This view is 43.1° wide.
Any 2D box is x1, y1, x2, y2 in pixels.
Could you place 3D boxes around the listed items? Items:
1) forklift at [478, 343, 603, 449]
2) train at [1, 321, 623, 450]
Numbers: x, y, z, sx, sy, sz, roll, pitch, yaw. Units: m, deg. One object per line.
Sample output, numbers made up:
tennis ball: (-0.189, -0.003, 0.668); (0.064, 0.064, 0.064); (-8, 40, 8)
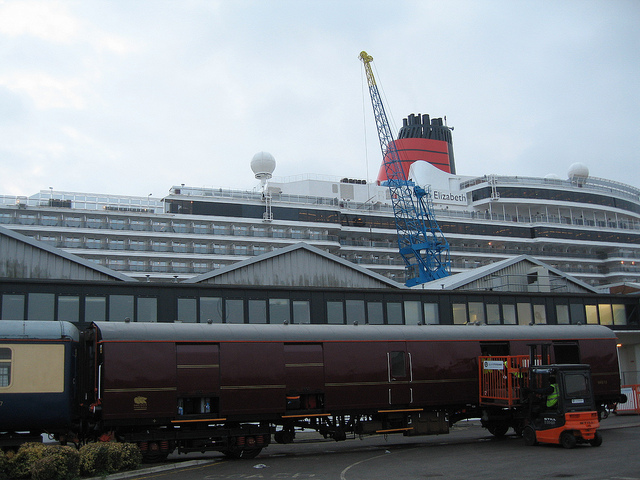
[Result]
forklift: (9.947, 7.161, 37.509); (2.559, 4.718, 4.736); (9, -18, -37)
train: (-0.937, 6.481, 35.851); (32.006, 5.939, 4.856); (3, -12, -17)
